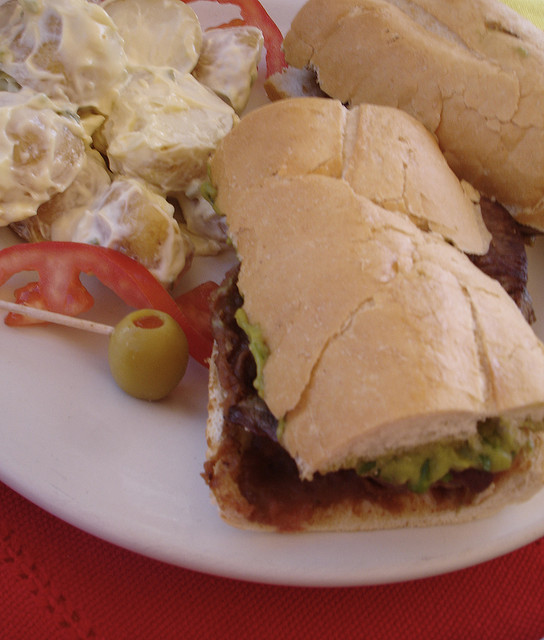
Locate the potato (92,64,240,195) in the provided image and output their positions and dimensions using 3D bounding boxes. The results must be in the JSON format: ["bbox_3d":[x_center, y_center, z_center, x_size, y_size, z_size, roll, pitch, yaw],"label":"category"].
[{"bbox_3d":[-0.237,-0.411,1.516,0.245,0.104,0.348,22,64,-25],"label":"potato"}]

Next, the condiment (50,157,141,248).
[{"bbox_3d":[-0.391,-0.265,1.460,0.140,0.162,0.127,-10,27,-18],"label":"condiment"}]

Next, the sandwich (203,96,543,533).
[{"bbox_3d":[0.169,-0.001,1.250,0.545,0.379,0.670,6,60,-10],"label":"sandwich"}]
